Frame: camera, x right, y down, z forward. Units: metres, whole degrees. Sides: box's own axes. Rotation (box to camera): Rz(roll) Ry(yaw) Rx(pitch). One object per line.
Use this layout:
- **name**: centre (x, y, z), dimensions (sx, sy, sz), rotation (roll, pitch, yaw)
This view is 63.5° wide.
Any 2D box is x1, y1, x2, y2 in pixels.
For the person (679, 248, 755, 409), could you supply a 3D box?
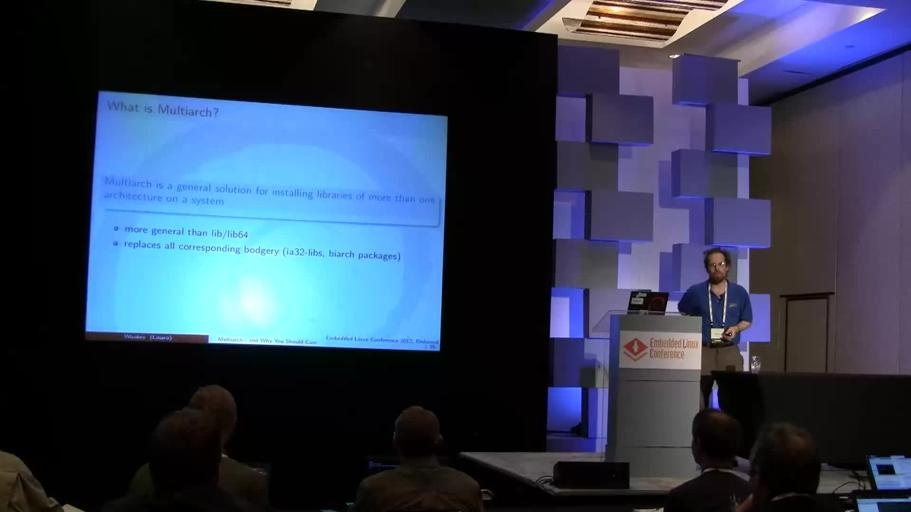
- **person**: centre (2.882, 0.736, 7.998), dimensions (0.750, 1.692, 0.992), rotation (0, -4, 10)

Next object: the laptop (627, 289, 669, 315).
- **laptop**: centre (1.726, 0.412, 6.606), dimensions (0.319, 0.210, 0.299), rotation (5, -7, 12)

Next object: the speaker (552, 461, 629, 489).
- **speaker**: centre (1.087, 1.758, 5.908), dimensions (0.418, 0.133, 0.299), rotation (2, -7, -12)

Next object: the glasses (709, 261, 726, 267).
- **glasses**: centre (2.920, 0.087, 8.150), dimensions (0.182, 0.041, 0.060), rotation (0, -4, 2)
